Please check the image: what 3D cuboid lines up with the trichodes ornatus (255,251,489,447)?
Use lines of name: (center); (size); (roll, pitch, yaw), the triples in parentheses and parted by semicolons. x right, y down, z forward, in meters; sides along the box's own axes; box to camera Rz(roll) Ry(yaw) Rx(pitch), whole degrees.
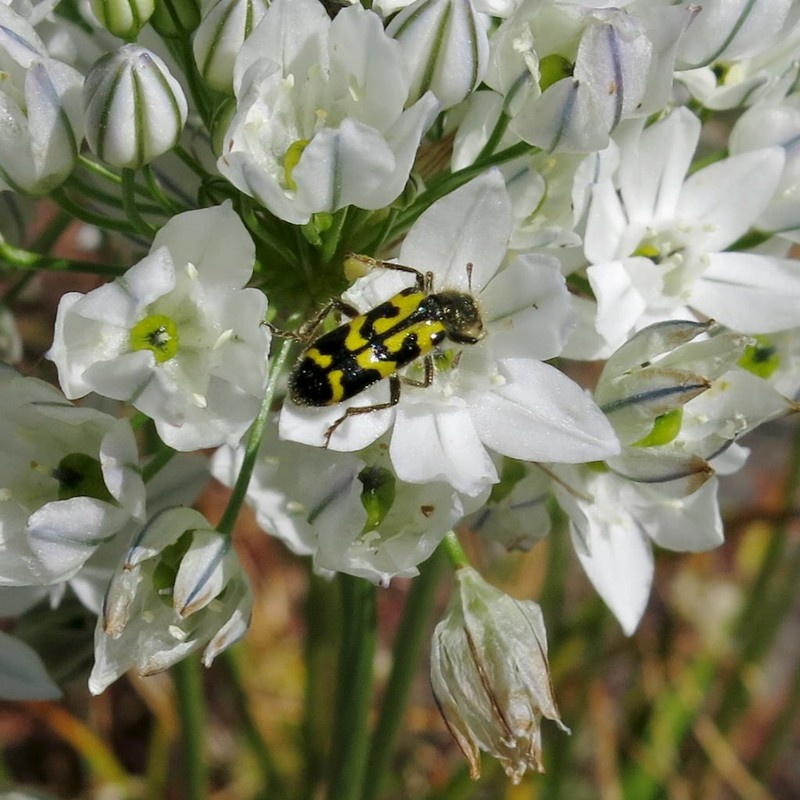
trichodes ornatus: (-0.024, -0.043, 0.595); (0.122, 0.078, 0.092); (-28, 59, -35)
